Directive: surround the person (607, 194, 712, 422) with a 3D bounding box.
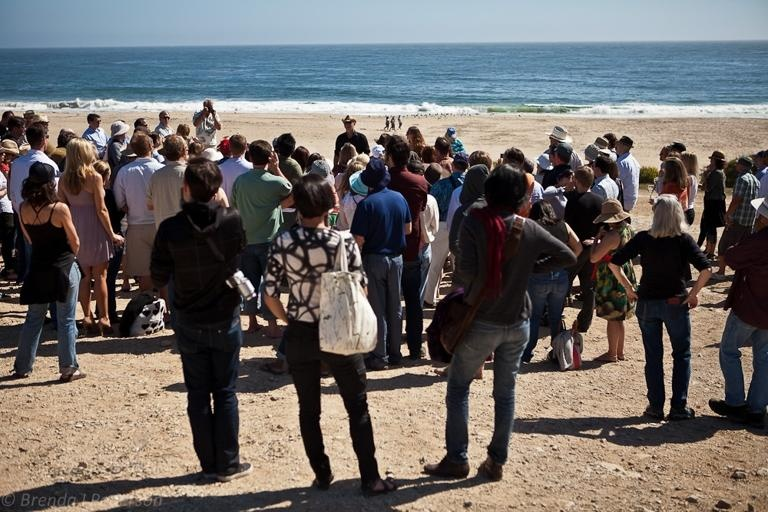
[{"bbox_3d":[3.305,0.607,8.994,1.021,2.668,0.465,4,11,22],"label":"person"}]

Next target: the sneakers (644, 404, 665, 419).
[{"bbox_3d":[3.238,1.884,9.044,0.121,0.116,0.266,-2,10,-9],"label":"sneakers"}]

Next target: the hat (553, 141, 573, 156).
[{"bbox_3d":[2.802,-1.686,11.892,0.303,0.198,0.408,2,10,13],"label":"hat"}]

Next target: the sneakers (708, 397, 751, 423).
[{"bbox_3d":[4.127,1.844,9.057,0.180,0.195,0.453,-9,19,-35],"label":"sneakers"}]

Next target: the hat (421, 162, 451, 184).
[{"bbox_3d":[0.788,-1.399,12.027,0.335,0.125,0.358,12,44,-24],"label":"hat"}]

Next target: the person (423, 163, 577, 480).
[{"bbox_3d":[1.124,0.724,7.900,1.324,3.323,0.427,-1,10,0],"label":"person"}]

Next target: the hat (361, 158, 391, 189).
[{"bbox_3d":[-0.103,-0.992,9.316,0.322,0.197,0.372,-15,35,-26],"label":"hat"}]

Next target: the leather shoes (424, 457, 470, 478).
[{"bbox_3d":[0.691,2.250,8.109,0.521,0.242,0.192,3,3,10],"label":"leather shoes"}]

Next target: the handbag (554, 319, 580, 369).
[{"bbox_3d":[2.420,1.214,10.008,0.393,0.491,0.203,-12,-22,28],"label":"handbag"}]

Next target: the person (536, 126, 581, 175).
[{"bbox_3d":[3.209,-1.996,13.282,0.479,0.345,1.082,22,-14,9],"label":"person"}]

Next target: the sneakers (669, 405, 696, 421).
[{"bbox_3d":[3.549,1.884,9.011,0.303,0.150,0.144,-5,9,-12],"label":"sneakers"}]

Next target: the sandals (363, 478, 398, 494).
[{"bbox_3d":[-0.049,2.392,7.800,0.303,0.123,0.156,-10,28,-13],"label":"sandals"}]

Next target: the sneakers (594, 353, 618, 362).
[{"bbox_3d":[3.031,1.398,10.264,0.255,0.103,0.131,4,-2,-7],"label":"sneakers"}]

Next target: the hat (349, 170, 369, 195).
[{"bbox_3d":[-0.332,-0.929,9.643,0.080,0.281,0.297,15,32,-43],"label":"hat"}]

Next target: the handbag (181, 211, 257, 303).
[{"bbox_3d":[-1.695,0.004,7.866,0.566,0.987,0.353,-34,21,-23],"label":"handbag"}]

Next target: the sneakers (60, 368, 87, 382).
[{"bbox_3d":[-3.842,1.479,9.298,0.122,0.116,0.272,6,11,18],"label":"sneakers"}]

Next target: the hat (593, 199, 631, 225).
[{"bbox_3d":[2.924,-0.562,9.777,0.335,0.186,0.349,-3,5,2],"label":"hat"}]

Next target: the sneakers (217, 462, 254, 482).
[{"bbox_3d":[-1.560,2.300,7.984,0.371,0.155,0.146,-13,18,-41],"label":"sneakers"}]
